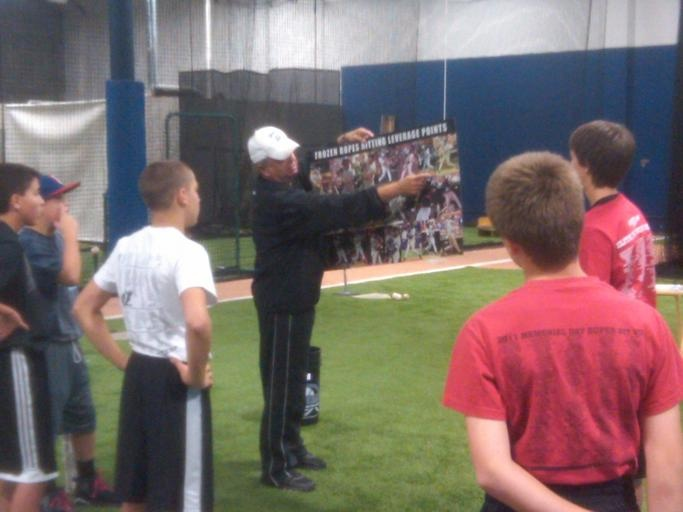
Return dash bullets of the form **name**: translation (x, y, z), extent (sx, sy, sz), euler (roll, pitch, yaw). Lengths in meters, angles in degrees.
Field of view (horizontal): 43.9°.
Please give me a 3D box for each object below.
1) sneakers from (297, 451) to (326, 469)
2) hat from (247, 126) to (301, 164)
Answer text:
- **sneakers**: translation (-0.207, 1.434, 5.941), extent (0.214, 0.106, 0.088), euler (0, 0, 9)
- **hat**: translation (-0.434, -0.684, 5.459), extent (0.281, 0.164, 0.217), euler (-10, 33, 6)
